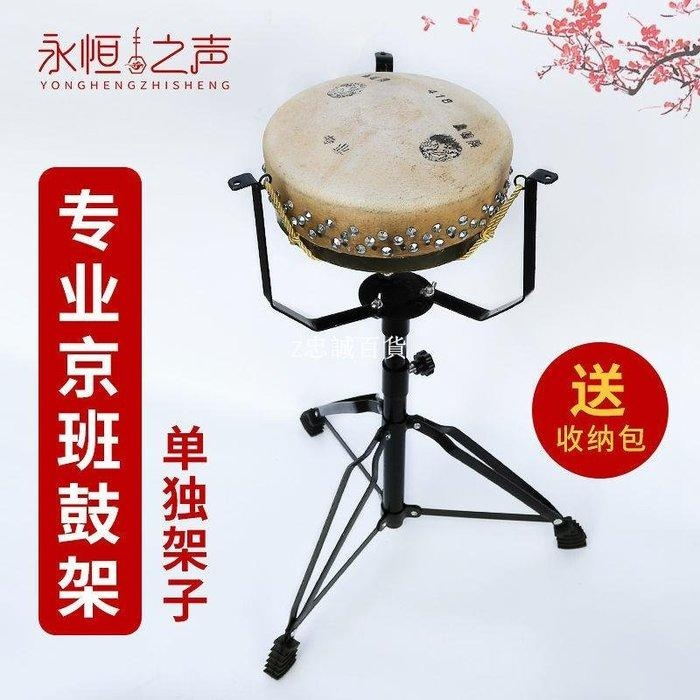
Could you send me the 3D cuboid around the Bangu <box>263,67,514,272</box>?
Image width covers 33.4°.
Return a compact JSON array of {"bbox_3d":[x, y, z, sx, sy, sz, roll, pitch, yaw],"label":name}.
[{"bbox_3d":[0.067,-0.419,2.445,0.533,0.213,0.475,-6,47,-18],"label":"Bangu"}]
